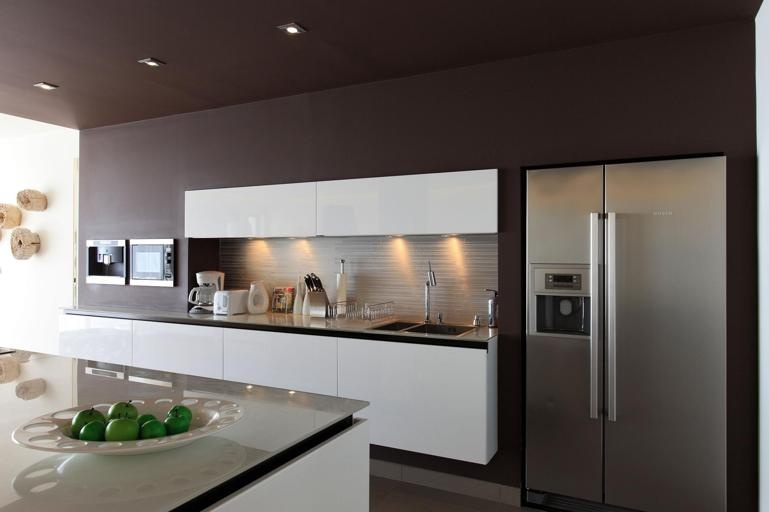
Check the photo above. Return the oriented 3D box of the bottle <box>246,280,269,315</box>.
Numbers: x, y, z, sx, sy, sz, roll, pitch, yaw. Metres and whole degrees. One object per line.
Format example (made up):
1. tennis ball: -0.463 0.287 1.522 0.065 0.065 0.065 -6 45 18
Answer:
1. bottle: -1.207 0.402 5.029 0.156 0.281 0.231 7 16 25

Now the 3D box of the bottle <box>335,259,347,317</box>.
1. bottle: -0.383 0.279 4.833 0.107 0.454 0.291 -1 14 -5

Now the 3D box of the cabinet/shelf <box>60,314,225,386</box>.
1. cabinet/shelf: -2.302 0.793 5.165 2.112 0.498 0.386 1 2 23

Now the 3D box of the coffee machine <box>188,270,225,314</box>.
1. coffee machine: -1.747 0.340 5.190 0.232 0.415 0.380 5 3 25

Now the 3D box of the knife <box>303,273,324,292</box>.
1. knife: -0.637 0.247 4.831 0.228 0.127 0.088 11 17 33

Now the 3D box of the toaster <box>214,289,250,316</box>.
1. toaster: -1.449 0.422 4.988 0.212 0.211 0.304 0 0 31

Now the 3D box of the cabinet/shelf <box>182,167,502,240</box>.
1. cabinet/shelf: -0.474 -0.391 4.646 2.873 0.602 0.411 -1 -2 18
